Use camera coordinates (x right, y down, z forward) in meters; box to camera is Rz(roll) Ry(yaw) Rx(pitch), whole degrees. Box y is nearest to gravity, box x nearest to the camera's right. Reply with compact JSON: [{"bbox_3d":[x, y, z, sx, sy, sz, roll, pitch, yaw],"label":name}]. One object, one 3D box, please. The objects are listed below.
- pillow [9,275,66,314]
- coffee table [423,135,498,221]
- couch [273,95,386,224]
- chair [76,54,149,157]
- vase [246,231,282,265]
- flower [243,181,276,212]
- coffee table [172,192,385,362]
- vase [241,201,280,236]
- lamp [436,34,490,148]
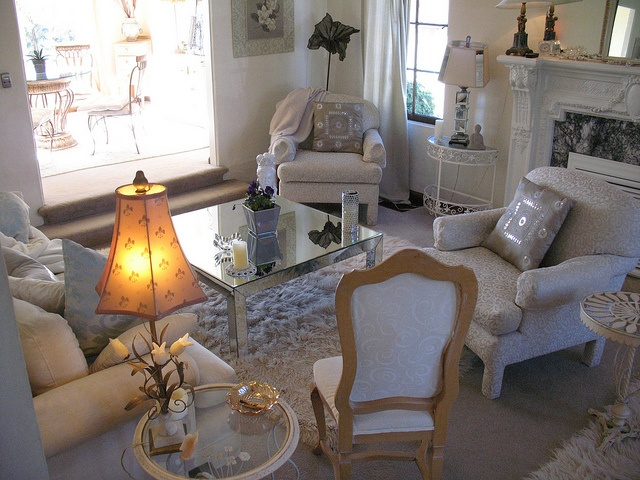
[{"bbox_3d":[-1.290,0.259,2.320,0.216,0.070,0.147,10,42,9],"label":"pillow"},{"bbox_3d":[1.321,-0.564,4.689,0.379,0.691,0.662,-21,33,-33],"label":"coffee table"},{"bbox_3d":[0.037,-0.709,5.354,1.228,1.473,1.274,-1,31,-3],"label":"couch"},{"bbox_3d":[-2.519,-1.710,6.251,0.781,1.075,1.501,-11,25,-22],"label":"chair"},{"bbox_3d":[-0.400,0.038,3.531,0.180,0.230,0.227,-11,20,-27],"label":"vase"},{"bbox_3d":[-0.421,-0.314,3.536,0.220,0.192,0.184,-6,23,-11],"label":"flower"},{"bbox_3d":[-0.538,0.014,3.636,1.081,0.466,1.159,-23,35,-33],"label":"coffee table"},{"bbox_3d":[-0.427,-0.156,3.616,0.239,0.232,0.216,-12,23,-32],"label":"vase"},{"bbox_3d":[1.258,-1.299,4.459,0.387,0.894,0.350,19,29,40],"label":"lamp"}]
